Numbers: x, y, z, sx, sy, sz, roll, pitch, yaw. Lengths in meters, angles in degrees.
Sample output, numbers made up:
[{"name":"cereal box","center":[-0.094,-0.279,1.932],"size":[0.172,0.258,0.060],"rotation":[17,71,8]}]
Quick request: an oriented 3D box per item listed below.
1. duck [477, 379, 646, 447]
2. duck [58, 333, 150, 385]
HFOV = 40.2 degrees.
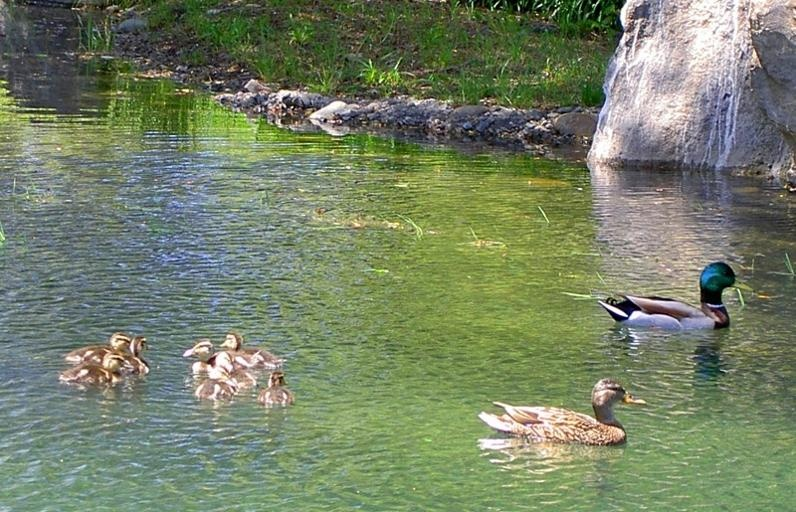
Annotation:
[{"name":"duck","center":[1.972,1.801,12.473],"size":[1.829,0.726,0.561],"rotation":[2,-1,21]},{"name":"duck","center":[-3.512,1.258,13.146],"size":[0.943,0.489,0.545],"rotation":[1,5,-15]}]
